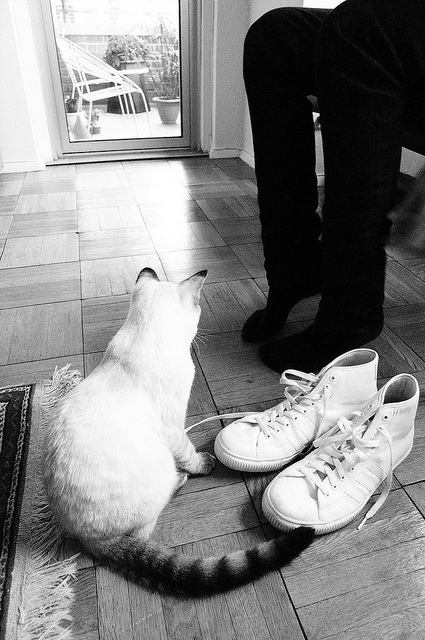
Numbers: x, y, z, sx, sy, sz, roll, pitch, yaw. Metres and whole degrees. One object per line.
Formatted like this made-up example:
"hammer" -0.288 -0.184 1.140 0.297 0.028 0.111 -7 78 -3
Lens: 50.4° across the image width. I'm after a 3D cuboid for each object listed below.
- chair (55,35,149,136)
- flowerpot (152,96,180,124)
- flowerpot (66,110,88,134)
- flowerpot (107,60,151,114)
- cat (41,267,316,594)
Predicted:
"chair" -0.664 -1.452 2.762 0.371 0.578 0.386 -25 64 -19
"flowerpot" -0.307 -1.381 2.962 0.115 0.106 0.137 -8 42 -11
"flowerpot" -0.852 -1.247 2.836 0.086 0.105 0.116 1 28 0
"flowerpot" -0.533 -1.474 2.856 0.234 0.296 0.241 -13 37 -19
"cat" -0.026 0.167 0.632 0.352 0.332 0.324 12 34 24
